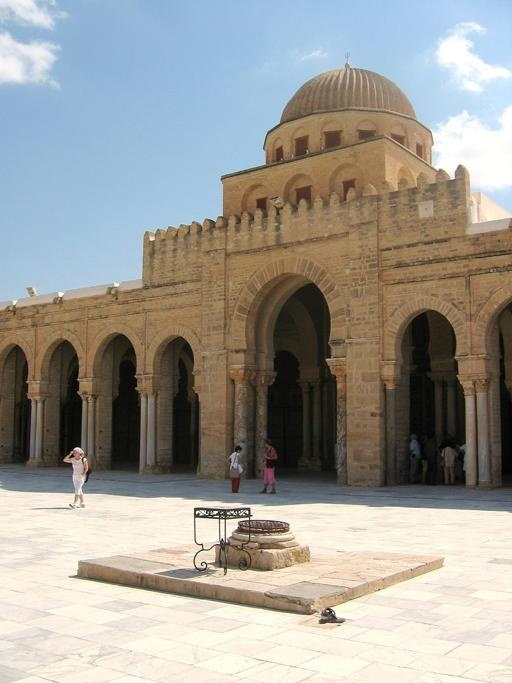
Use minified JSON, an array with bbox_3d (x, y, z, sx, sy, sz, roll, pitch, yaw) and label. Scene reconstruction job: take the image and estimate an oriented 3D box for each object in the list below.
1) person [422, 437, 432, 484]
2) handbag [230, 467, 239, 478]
[{"bbox_3d":[3.602,2.503,15.751,0.198,0.936,0.628,-2,-10,13],"label":"person"},{"bbox_3d":[-0.393,2.389,13.631,0.149,0.170,0.203,0,-10,-1],"label":"handbag"}]
